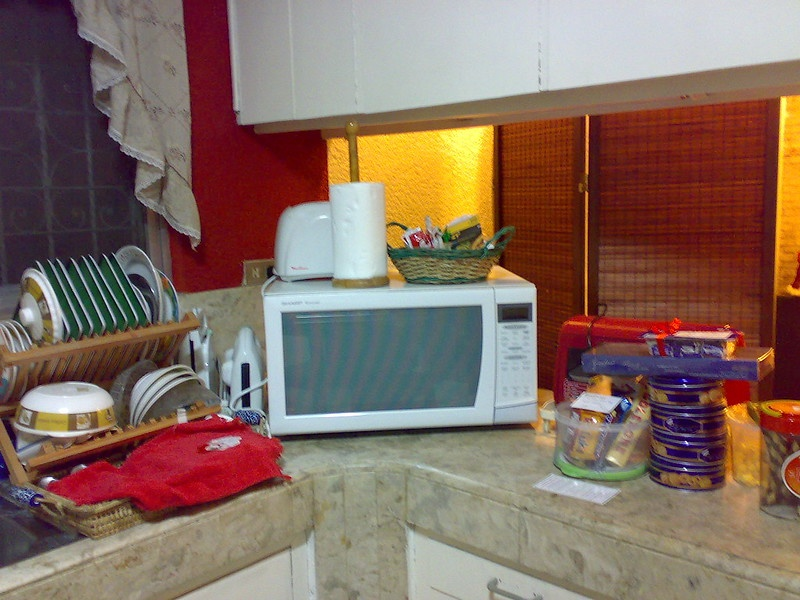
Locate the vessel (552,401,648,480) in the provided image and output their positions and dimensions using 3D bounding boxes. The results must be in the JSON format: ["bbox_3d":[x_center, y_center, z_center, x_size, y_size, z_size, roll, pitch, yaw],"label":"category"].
[{"bbox_3d":[0.423,0.309,1.386,0.212,0.130,0.202,6,1,-40],"label":"vessel"}]

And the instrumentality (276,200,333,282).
[{"bbox_3d":[-0.273,-0.166,1.718,0.130,0.200,0.211,13,11,39],"label":"instrumentality"}]

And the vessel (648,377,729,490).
[{"bbox_3d":[0.588,0.258,1.292,0.151,0.231,0.149,0,9,18],"label":"vessel"}]
